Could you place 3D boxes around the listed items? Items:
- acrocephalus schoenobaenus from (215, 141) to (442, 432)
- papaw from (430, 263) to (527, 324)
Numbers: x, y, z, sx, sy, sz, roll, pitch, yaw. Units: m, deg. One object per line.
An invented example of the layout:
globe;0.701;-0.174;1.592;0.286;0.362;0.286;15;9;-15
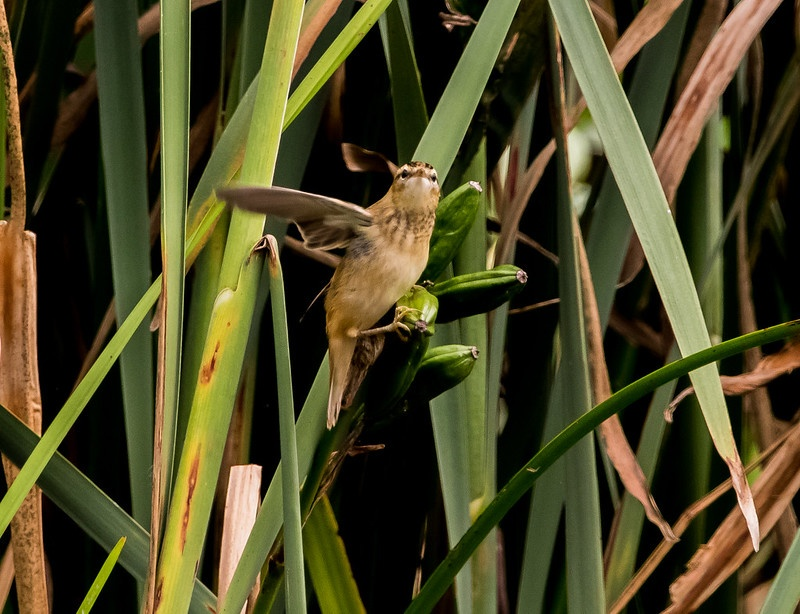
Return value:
acrocephalus schoenobaenus;-0.028;-0.043;1.440;0.186;0.358;0.399;-15;5;14
papaw;0.086;-0.016;1.399;0.109;0.061;0.030;0;-12;7
